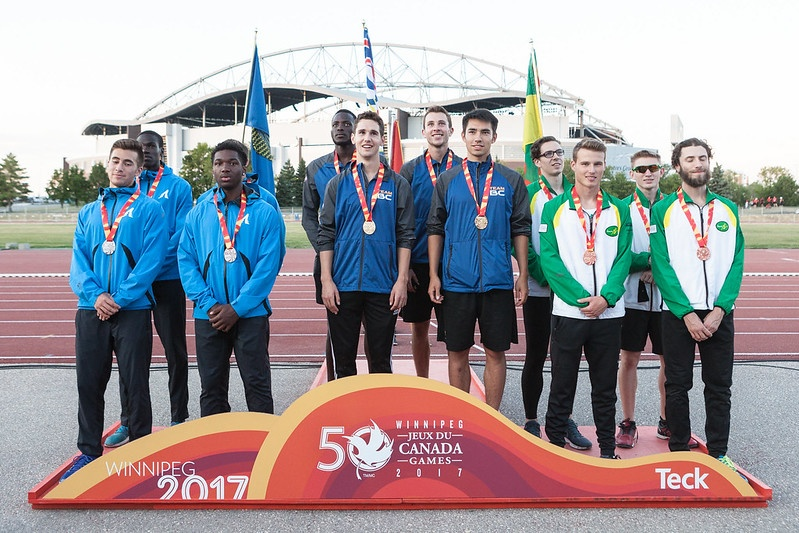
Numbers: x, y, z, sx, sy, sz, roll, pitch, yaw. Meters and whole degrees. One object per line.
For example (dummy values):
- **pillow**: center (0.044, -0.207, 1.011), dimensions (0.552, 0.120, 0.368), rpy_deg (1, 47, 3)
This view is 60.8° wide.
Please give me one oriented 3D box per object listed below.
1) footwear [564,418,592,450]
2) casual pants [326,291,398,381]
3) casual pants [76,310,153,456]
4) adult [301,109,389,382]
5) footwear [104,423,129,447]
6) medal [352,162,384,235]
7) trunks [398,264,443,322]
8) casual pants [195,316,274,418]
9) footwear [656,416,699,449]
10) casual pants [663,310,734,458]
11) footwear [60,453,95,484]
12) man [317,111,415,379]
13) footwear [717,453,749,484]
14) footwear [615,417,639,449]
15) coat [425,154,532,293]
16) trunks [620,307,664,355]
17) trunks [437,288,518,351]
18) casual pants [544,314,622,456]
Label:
- **footwear**: center (1.528, 1.468, 5.940), dimensions (0.121, 0.151, 0.334), rpy_deg (3, 7, -25)
- **casual pants**: center (-0.315, 0.567, 6.025), dimensions (0.582, 1.015, 0.374), rpy_deg (-2, 13, -7)
- **casual pants**: center (-2.348, 0.931, 5.649), dimensions (0.644, 1.180, 0.395), rpy_deg (-6, 9, -20)
- **adult**: center (-0.383, 0.077, 6.746), dimensions (1.090, 3.268, 0.811), rpy_deg (2, 16, -7)
- **footwear**: center (-2.454, 1.508, 6.044), dimensions (0.138, 0.160, 0.359), rpy_deg (-3, -8, 15)
- **medal**: center (-0.255, -0.594, 5.945), dimensions (0.294, 0.618, 0.222), rpy_deg (-3, 9, -2)
- **trunks**: center (0.195, 0.222, 6.203), dimensions (0.503, 0.669, 0.378), rpy_deg (0, 9, 5)
- **casual pants**: center (-1.368, 0.760, 5.706), dimensions (0.646, 1.353, 0.338), rpy_deg (-2, 19, -16)
- **footwear**: center (2.391, 1.478, 6.041), dimensions (0.165, 0.196, 0.457), rpy_deg (-1, -4, -28)
- **casual pants**: center (2.427, 0.984, 5.560), dimensions (0.529, 1.237, 0.473), rpy_deg (1, 9, 20)
- **footwear**: center (-2.489, 1.580, 5.300), dimensions (0.098, 0.102, 0.273), rpy_deg (28, 28, 6)
- **man**: center (-0.288, -0.004, 6.147), dimensions (0.872, 2.754, 0.619), rpy_deg (2, 20, 2)
- **footwear**: center (2.620, 1.594, 5.360), dimensions (0.119, 0.144, 0.339), rpy_deg (2, 1, -12)
- **footwear**: center (1.990, 1.471, 5.913), dimensions (0.126, 0.143, 0.308), rpy_deg (-1, -7, 13)
- **coat**: center (0.693, -0.333, 5.962), dimensions (1.292, 1.527, 0.598), rpy_deg (0, -5, 1)
- **trunks**: center (2.164, 0.558, 6.083), dimensions (0.456, 0.414, 0.256), rpy_deg (2, -6, -18)
- **trunks**: center (0.681, 0.440, 5.879), dimensions (0.538, 0.499, 0.195), rpy_deg (-1, -22, 4)
- **casual pants**: center (1.515, 0.970, 5.630), dimensions (0.587, 1.104, 0.375), rpy_deg (0, 9, 16)
